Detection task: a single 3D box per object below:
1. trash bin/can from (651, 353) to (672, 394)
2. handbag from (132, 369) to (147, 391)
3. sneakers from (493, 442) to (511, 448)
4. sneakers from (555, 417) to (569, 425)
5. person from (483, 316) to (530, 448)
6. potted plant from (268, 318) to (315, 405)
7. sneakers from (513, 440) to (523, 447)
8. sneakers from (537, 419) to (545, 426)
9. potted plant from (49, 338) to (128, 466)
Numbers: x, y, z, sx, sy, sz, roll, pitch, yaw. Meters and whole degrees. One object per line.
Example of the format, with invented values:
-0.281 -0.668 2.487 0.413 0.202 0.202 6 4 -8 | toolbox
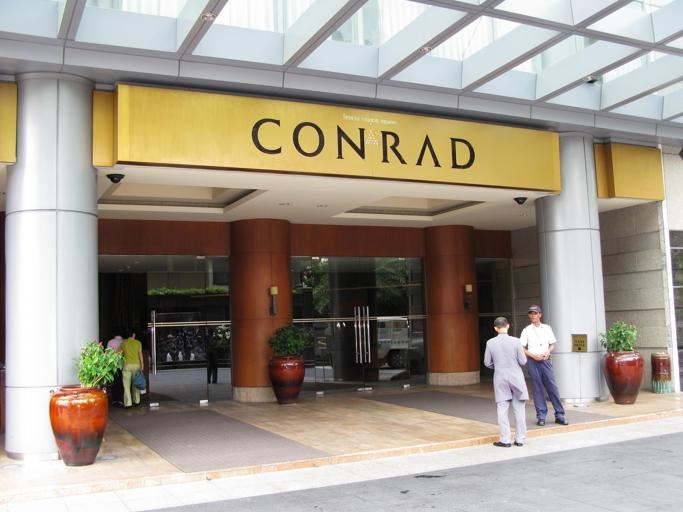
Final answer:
7.896 2.883 13.126 0.456 0.981 0.353 -6 -8 28 | trash bin/can
-5.305 3.273 13.837 0.332 0.571 0.778 0 -7 -21 | handbag
2.597 3.060 8.631 0.257 0.089 0.093 4 1 41 | sneakers
4.103 3.065 9.849 0.105 0.103 0.266 4 -7 -24 | sneakers
2.830 2.093 9.078 0.671 2.083 1.390 -4 -7 17 | person
-1.327 2.777 13.528 1.048 1.952 0.451 -1 -7 -9 | potted plant
2.872 3.062 8.654 0.062 0.059 0.155 1 -11 -5 | sneakers
3.670 3.085 9.806 0.080 0.072 0.186 1 -1 7 | sneakers
-3.869 2.221 8.015 0.991 1.788 0.761 1 -7 -25 | potted plant
